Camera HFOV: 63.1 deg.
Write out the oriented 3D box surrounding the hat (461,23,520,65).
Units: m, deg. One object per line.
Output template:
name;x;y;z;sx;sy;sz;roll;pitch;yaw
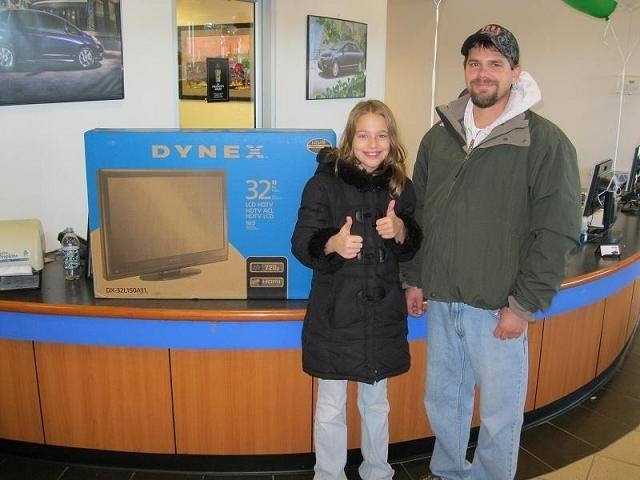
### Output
hat;0.711;-0.803;2.168;0.229;0.174;0.170;1;14;12
